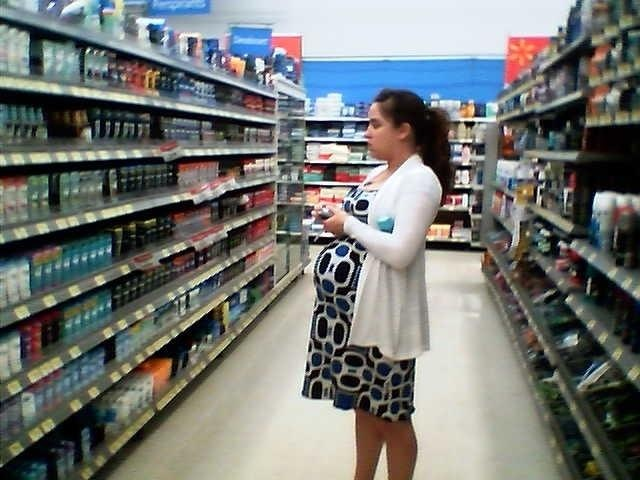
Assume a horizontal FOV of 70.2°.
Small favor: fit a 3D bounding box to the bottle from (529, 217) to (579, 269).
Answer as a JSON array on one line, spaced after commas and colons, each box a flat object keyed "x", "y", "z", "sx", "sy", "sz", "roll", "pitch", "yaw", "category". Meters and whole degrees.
[{"x": 1.878, "y": 0.030, "z": 3.685, "sx": 0.195, "sy": 0.265, "sz": 0.612, "roll": -7, "pitch": 19, "yaw": 7, "category": "bottle"}]
